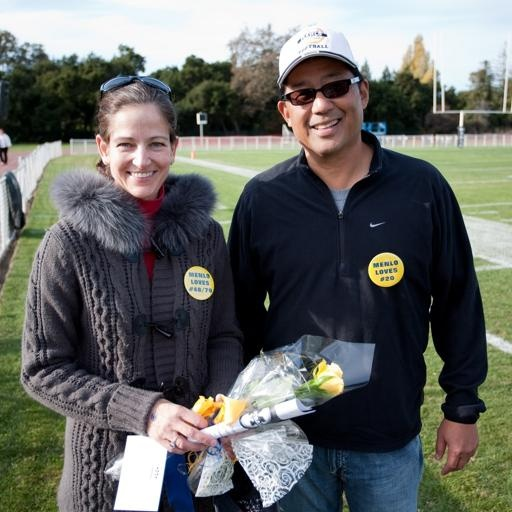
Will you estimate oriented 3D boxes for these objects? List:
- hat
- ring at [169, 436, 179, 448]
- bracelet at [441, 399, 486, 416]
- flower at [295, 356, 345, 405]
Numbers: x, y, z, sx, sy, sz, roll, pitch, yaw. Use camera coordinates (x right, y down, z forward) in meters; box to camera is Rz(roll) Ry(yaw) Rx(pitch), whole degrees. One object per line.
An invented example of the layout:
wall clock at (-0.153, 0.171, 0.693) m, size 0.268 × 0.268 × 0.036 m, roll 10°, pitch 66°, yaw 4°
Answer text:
hat at (0.243, -0.882, 2.337) m, size 0.360 × 0.275 × 0.317 m, roll 0°, pitch 10°, yaw 15°
ring at (-0.289, 0.657, 1.932) m, size 0.022 × 0.037 × 0.037 m, roll 8°, pitch -27°, yaw -3°
bracelet at (0.884, 0.654, 2.338) m, size 0.103 × 0.043 × 0.107 m, roll -1°, pitch -3°, yaw 1°
flower at (0.207, 0.446, 1.926) m, size 0.161 × 0.109 × 0.118 m, roll -30°, pitch -4°, yaw 19°
